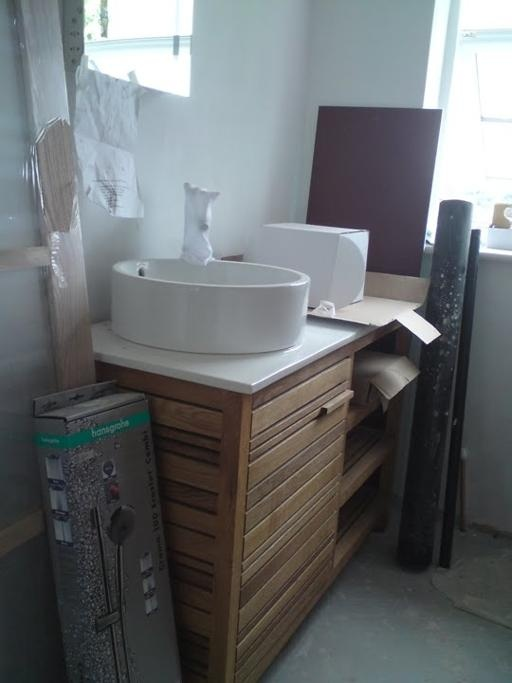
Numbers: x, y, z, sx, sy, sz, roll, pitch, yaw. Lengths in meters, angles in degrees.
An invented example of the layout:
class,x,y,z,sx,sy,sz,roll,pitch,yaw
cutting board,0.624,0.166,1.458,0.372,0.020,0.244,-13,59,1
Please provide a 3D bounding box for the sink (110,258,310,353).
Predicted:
class,x,y,z,sx,sy,sz,roll,pitch,yaw
sink,-0.101,-0.095,1.120,0.448,0.194,0.421,0,8,-26
